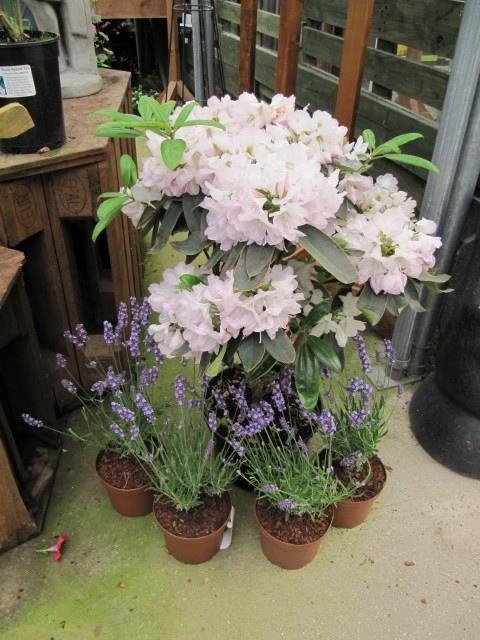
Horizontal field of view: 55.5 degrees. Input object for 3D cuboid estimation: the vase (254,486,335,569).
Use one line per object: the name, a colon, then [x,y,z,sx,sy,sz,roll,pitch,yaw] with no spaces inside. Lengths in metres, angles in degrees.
vase: [0.158,0.643,1.381,0.233,0.243,0.167,4,36,5]

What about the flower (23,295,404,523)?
flower: [-0.135,0.355,1.505,1.093,0.424,0.762,3,45,2]

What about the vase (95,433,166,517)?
vase: [-0.372,0.525,1.578,0.235,0.173,0.241,-1,33,-8]

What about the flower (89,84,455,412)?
flower: [0.094,-0.082,1.104,0.687,0.820,0.591,-18,40,-25]
